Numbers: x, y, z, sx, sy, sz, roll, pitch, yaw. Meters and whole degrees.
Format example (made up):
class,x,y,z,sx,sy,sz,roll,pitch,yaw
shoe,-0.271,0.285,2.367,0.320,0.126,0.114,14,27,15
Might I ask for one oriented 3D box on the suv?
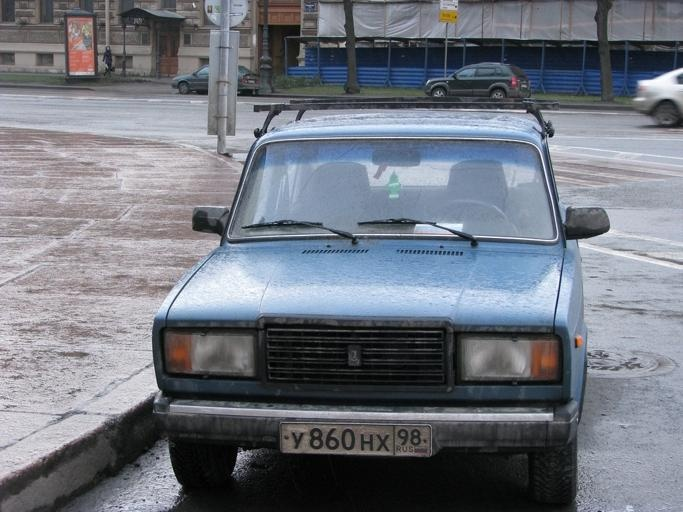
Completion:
class,x,y,z,sx,sy,sz,roll,pitch,yaw
suv,5.102,-6.536,37.723,3.194,1.187,2.642,10,18,34

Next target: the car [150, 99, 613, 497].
class,x,y,z,sx,sy,sz,roll,pitch,yaw
car,0.164,0.032,5.655,1.747,1.300,2.799,-1,6,10

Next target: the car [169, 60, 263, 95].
class,x,y,z,sx,sy,sz,roll,pitch,yaw
car,-5.120,-6.978,40.575,1.681,1.164,3.763,-15,21,-43
